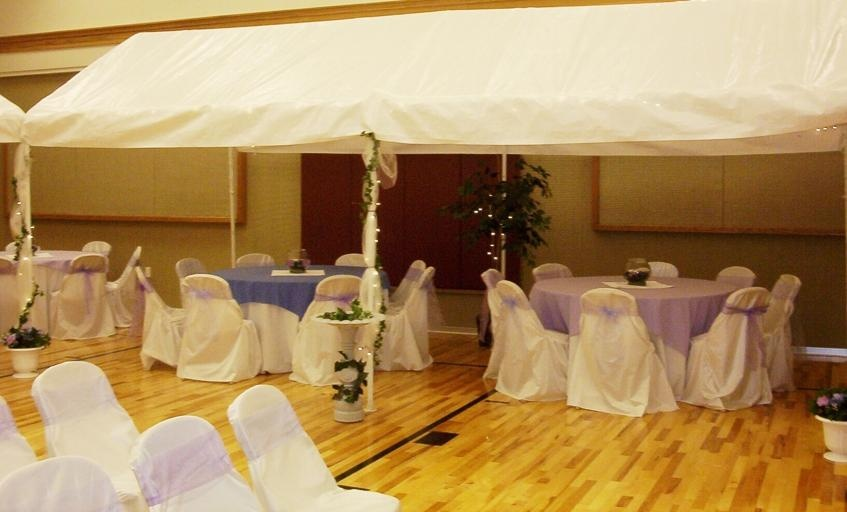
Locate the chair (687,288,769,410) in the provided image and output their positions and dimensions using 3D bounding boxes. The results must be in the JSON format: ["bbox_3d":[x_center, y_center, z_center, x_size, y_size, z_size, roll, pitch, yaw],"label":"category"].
[{"bbox_3d":[3.259,0.933,6.703,1.069,1.259,0.824,-6,5,-35],"label":"chair"}]

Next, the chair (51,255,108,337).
[{"bbox_3d":[-4.979,0.520,9.116,0.860,1.235,0.915,-1,9,-37],"label":"chair"}]

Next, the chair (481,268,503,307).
[{"bbox_3d":[0.806,0.358,7.485,0.151,0.426,0.308,4,-15,5],"label":"chair"}]

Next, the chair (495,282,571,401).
[{"bbox_3d":[1.241,0.857,6.995,1.019,1.239,0.965,-3,13,-8],"label":"chair"}]

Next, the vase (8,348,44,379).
[{"bbox_3d":[-4.591,1.204,7.267,0.346,0.264,0.339,1,0,-37],"label":"vase"}]

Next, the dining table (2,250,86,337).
[{"bbox_3d":[-5.416,0.489,8.916,1.181,1.191,1.176,3,3,41],"label":"dining table"}]

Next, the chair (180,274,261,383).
[{"bbox_3d":[-2.380,0.839,7.452,0.945,1.153,0.845,2,0,3],"label":"chair"}]

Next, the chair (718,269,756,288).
[{"bbox_3d":[3.930,0.280,7.930,0.320,0.427,0.312,-3,-4,36],"label":"chair"}]
